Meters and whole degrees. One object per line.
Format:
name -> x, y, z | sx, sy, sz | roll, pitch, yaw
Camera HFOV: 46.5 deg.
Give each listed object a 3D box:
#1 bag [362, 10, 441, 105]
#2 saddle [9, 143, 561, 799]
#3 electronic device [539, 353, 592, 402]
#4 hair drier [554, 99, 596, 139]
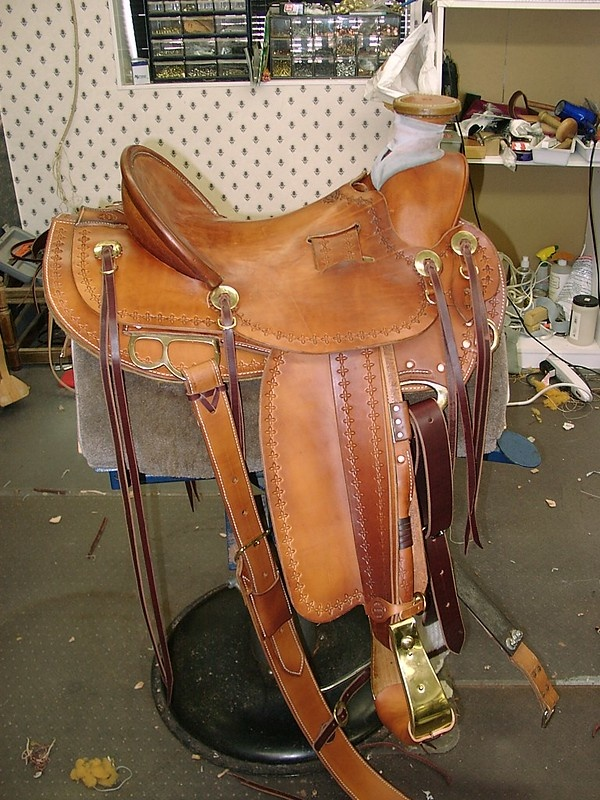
bag -> 0.318, -1.050, 2.142 | 0.232, 0.246, 0.310 | -2, 23, 4
saddle -> 0.001, 0.155, 1.106 | 0.702, 1.057, 0.514 | 15, 30, 36
electronic device -> 0.975, -0.071, 2.580 | 0.117, 0.046, 0.190 | -9, 47, -30
hair drier -> 0.948, -0.960, 2.398 | 0.148, 0.126, 0.168 | 4, 24, 17
